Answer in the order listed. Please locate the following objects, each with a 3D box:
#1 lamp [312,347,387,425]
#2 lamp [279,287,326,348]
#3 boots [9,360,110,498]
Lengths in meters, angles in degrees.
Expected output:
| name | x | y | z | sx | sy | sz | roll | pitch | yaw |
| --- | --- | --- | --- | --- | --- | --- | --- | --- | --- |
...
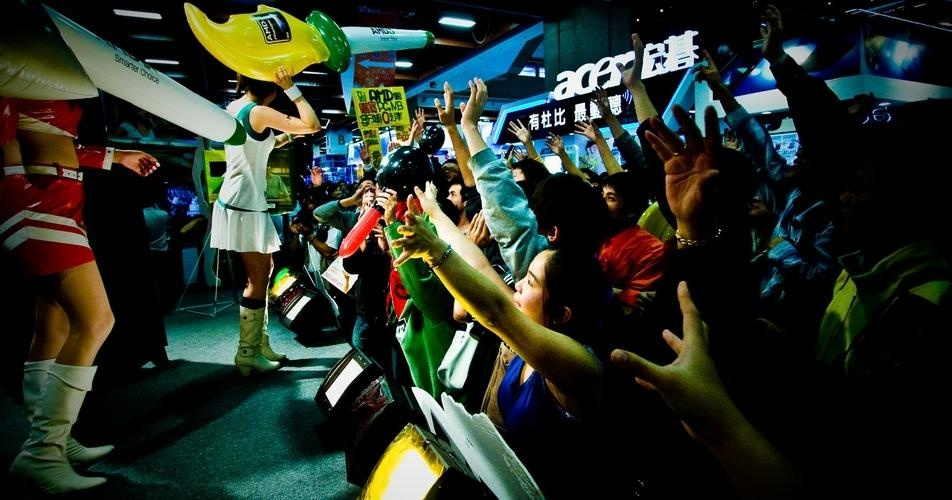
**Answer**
| name | x | y | z | sx | sy | sz | roll | pitch | yaw |
| --- | --- | --- | --- | --- | --- | --- | --- | --- | --- |
| lamp | -0.987 | 1.097 | 4.381 | 0.504 | 0.587 | 0.441 | 26 | 12 | -32 |
| lamp | -2.016 | 0.810 | 6.502 | 0.325 | 0.414 | 0.565 | 39 | -20 | 20 |
| boots | -3.095 | 1.291 | 4.110 | 0.589 | 0.955 | 0.361 | -4 | 5 | -24 |
